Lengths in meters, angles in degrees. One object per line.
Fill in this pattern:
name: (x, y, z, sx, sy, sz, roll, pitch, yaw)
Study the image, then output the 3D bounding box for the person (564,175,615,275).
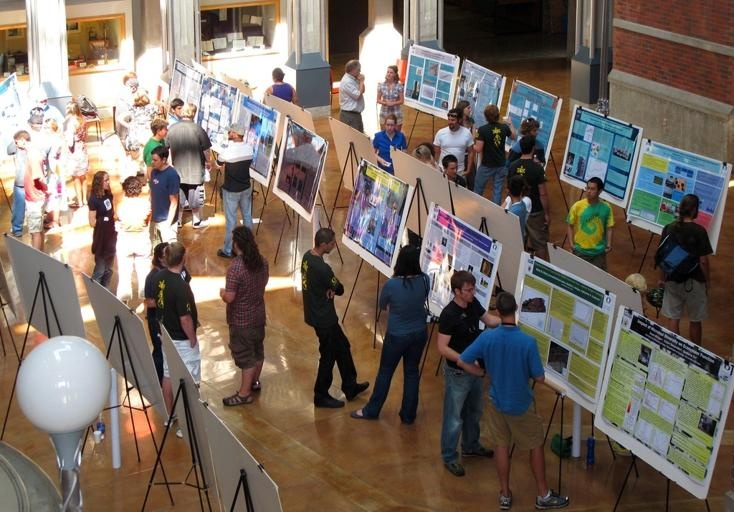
person: (3.185, -0.459, 8.122, 0.593, 1.401, 0.602, 12, 22, 37)

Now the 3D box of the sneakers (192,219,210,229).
sneakers: (-3.427, -0.688, 11.557, 0.366, 0.184, 0.145, -11, 25, -18)

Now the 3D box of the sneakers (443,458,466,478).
sneakers: (0.908, 2.181, 5.847, 0.104, 0.091, 0.213, -23, 33, -31)

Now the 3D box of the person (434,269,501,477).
person: (1.022, 1.223, 5.734, 0.645, 2.360, 0.815, 15, 38, 29)

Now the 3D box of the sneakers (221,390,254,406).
sneakers: (-1.643, 1.763, 7.050, 0.323, 0.158, 0.169, 2, 8, -7)

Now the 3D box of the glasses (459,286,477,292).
glasses: (0.953, 0.308, 5.406, 0.094, 0.035, 0.101, -6, 10, -31)

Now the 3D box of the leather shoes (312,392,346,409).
leather shoes: (-0.475, 1.795, 6.945, 0.389, 0.313, 0.160, -2, 20, -1)

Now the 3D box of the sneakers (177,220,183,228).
sneakers: (-3.740, -0.640, 11.188, 0.133, 0.123, 0.239, 0, 17, -2)

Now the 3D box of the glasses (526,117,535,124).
glasses: (2.929, -2.449, 10.132, 0.165, 0.064, 0.566, 4, 21, 16)

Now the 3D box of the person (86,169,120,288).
person: (-4.070, -0.372, 8.600, 0.461, 1.880, 0.563, -10, 19, -27)

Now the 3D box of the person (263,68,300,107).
person: (-2.015, -3.932, 13.032, 0.656, 0.787, 1.770, -3, 19, -6)

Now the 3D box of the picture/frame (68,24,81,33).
picture/frame: (-9.006, -6.978, 17.225, 0.283, 0.322, 0.021, 9, 31, -14)

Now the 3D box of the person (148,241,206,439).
person: (-2.074, 0.743, 6.255, 0.386, 1.729, 0.628, -14, 21, -36)

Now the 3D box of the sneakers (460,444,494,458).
sneakers: (1.194, 2.112, 6.164, 0.339, 0.155, 0.134, -2, 9, 0)

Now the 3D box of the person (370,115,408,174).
person: (0.366, -2.016, 9.827, 0.570, 0.880, 1.895, 0, 19, 3)

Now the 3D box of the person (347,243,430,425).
person: (0.306, 0.914, 6.314, 0.720, 2.147, 0.315, -1, 17, 2)

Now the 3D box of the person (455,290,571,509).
person: (1.327, 1.367, 5.159, 0.962, 2.076, 0.303, 9, 20, 31)

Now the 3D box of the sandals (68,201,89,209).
sandals: (-6.303, -1.143, 12.252, 0.419, 0.145, 0.176, 3, -10, 16)

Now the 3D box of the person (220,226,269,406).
person: (-1.483, 0.751, 6.787, 0.619, 2.202, 0.451, -6, 18, -14)

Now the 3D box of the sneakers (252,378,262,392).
sneakers: (-1.433, 1.657, 7.280, 0.070, 0.085, 0.182, -2, 18, -7)

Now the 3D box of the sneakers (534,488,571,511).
sneakers: (1.713, 2.280, 5.295, 0.332, 0.186, 0.152, -3, 12, -5)

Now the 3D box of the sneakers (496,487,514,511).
sneakers: (1.309, 2.309, 5.337, 0.085, 0.103, 0.221, 1, 32, 4)

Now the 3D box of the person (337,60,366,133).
person: (-0.385, -3.799, 13.445, 0.549, 1.621, 0.659, -2, 17, -3)

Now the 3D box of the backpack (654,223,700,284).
backpack: (4.009, -0.087, 7.168, 0.394, 0.795, 0.525, -20, 29, -24)

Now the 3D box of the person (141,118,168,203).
person: (-3.849, -1.836, 10.609, 0.535, 1.511, 0.685, 9, 35, -1)

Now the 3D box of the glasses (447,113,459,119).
glasses: (1.559, -2.562, 10.195, 0.195, 0.137, 0.130, 1, 18, 8)

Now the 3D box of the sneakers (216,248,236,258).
sneakers: (-2.631, -0.078, 10.454, 0.333, 0.161, 0.132, 4, 18, 14)
